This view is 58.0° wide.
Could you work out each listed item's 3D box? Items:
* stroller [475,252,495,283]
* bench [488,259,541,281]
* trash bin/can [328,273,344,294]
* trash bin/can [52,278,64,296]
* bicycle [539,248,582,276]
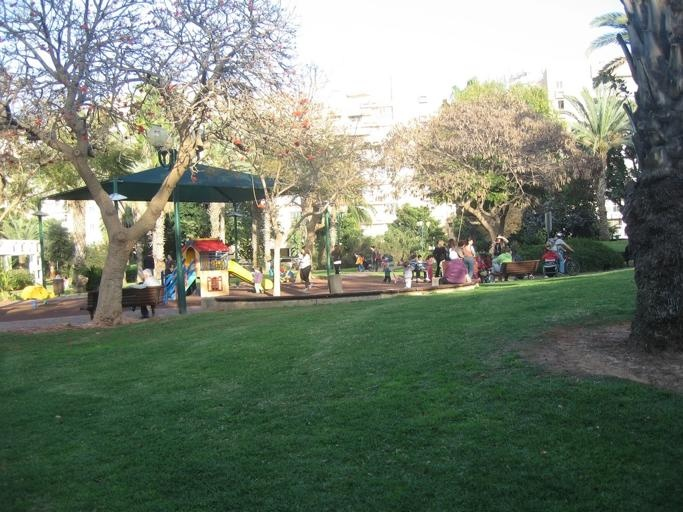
[{"bbox_3d":[6.031,0.557,25.925,0.714,1.248,0.911,1,7,-35],"label":"stroller"},{"bbox_3d":[7.182,0.638,25.480,2.065,1.022,0.835,-13,14,-31],"label":"bench"},{"bbox_3d":[-0.233,0.957,20.268,0.394,0.647,0.805,-1,-1,-1],"label":"trash bin/can"},{"bbox_3d":[-14.929,1.676,32.339,0.337,0.744,0.696,-3,-4,13],"label":"trash bin/can"},{"bbox_3d":[9.163,0.271,26.290,1.534,1.156,0.892,-4,5,-39],"label":"bicycle"}]
